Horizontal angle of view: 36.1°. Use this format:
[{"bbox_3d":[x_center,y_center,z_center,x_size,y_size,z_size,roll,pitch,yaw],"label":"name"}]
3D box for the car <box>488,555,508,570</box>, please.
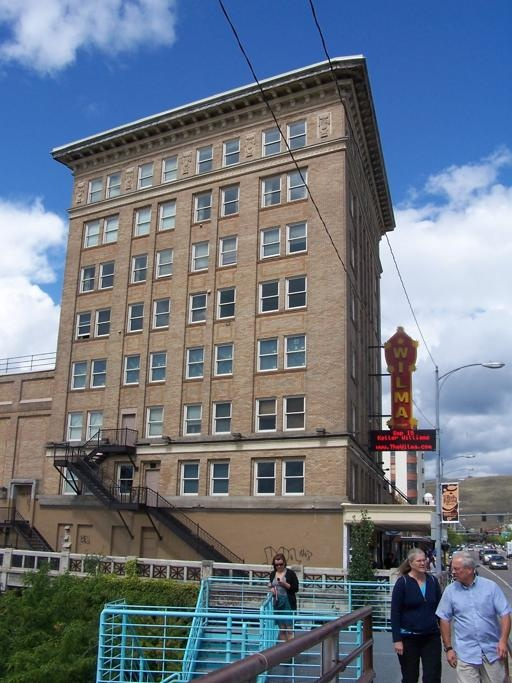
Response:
[{"bbox_3d":[22.857,20.741,73.909,1.236,0.776,2.560,-6,-28,13],"label":"car"}]
